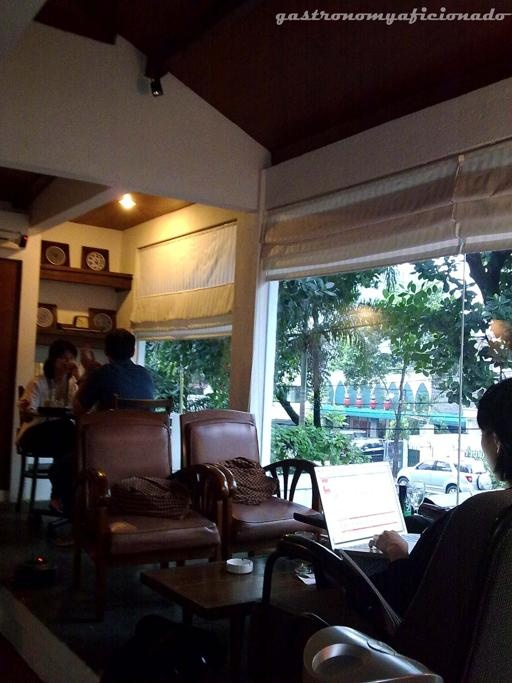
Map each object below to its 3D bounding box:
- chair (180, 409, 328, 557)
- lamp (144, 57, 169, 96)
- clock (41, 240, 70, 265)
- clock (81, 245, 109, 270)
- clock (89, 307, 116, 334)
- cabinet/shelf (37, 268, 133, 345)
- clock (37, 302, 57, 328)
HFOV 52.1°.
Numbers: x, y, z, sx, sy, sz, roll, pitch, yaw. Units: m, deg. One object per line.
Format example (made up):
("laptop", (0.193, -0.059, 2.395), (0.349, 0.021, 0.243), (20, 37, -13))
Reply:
("chair", (-0.058, 0.979, 3.299), (0.732, 1.076, 0.773), (4, -12, -37))
("lamp", (-0.752, -1.982, 3.906), (0.170, 0.291, 0.124), (1, -3, 10))
("clock", (-2.467, -1.091, 6.417), (0.036, 0.321, 0.321), (-20, -23, 41))
("clock", (-2.094, -1.084, 6.772), (0.034, 0.317, 0.320), (-19, -31, 34))
("clock", (-1.981, -0.269, 6.727), (0.048, 0.361, 0.364), (-21, -14, 37))
("cabinet/shelf", (-2.131, -0.437, 6.418), (0.988, 0.809, 0.325), (2, -4, -34))
("clock", (-2.530, -0.322, 6.348), (0.211, 0.291, 0.204), (2, -3, -24))
